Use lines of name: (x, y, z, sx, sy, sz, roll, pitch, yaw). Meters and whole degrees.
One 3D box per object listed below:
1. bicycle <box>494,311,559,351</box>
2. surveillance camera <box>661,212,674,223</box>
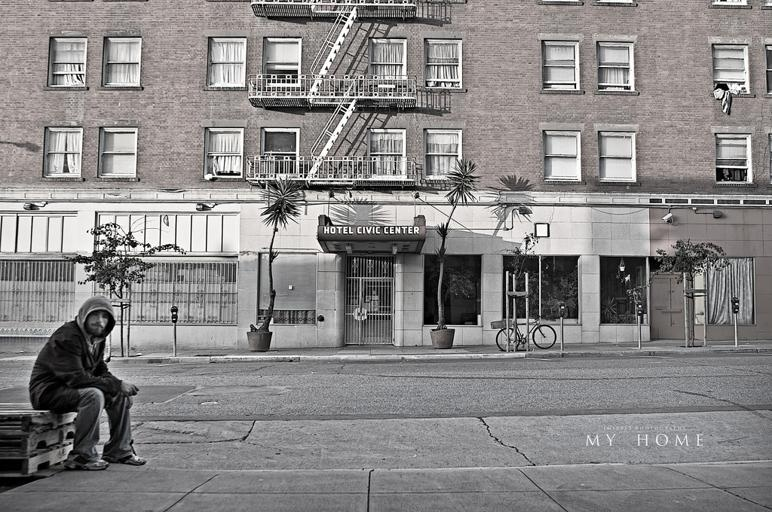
bicycle: (5.681, 3.224, 45.582, 2.630, 1.287, 1.114, -2, -1, -1)
surveillance camera: (11.961, -1.610, 47.865, 0.488, 0.482, 0.338, 0, -2, 4)
